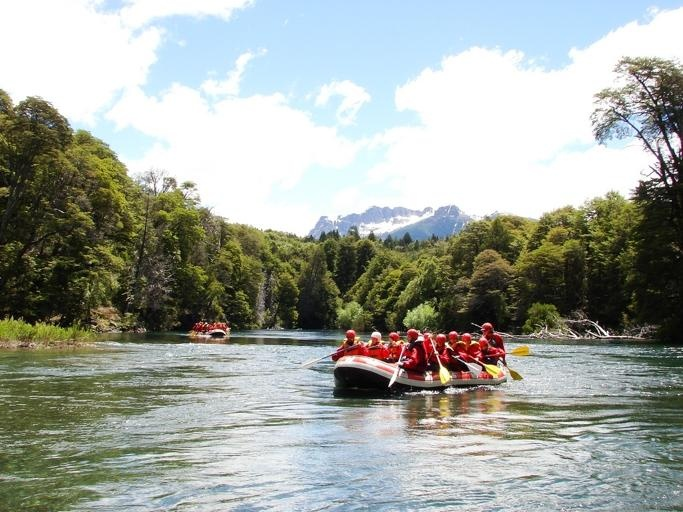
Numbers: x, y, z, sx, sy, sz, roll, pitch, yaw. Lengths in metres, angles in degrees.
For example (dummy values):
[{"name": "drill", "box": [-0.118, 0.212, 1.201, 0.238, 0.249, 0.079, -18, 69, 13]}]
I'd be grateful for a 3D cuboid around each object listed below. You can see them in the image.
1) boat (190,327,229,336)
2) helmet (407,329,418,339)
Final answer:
[{"name": "boat", "box": [-12.906, 7.417, 52.129, 3.014, 0.808, 3.042, -3, -10, 13]}, {"name": "helmet", "box": [2.440, 2.620, 18.204, 0.366, 0.296, 0.504, -2, -10, 6]}]
